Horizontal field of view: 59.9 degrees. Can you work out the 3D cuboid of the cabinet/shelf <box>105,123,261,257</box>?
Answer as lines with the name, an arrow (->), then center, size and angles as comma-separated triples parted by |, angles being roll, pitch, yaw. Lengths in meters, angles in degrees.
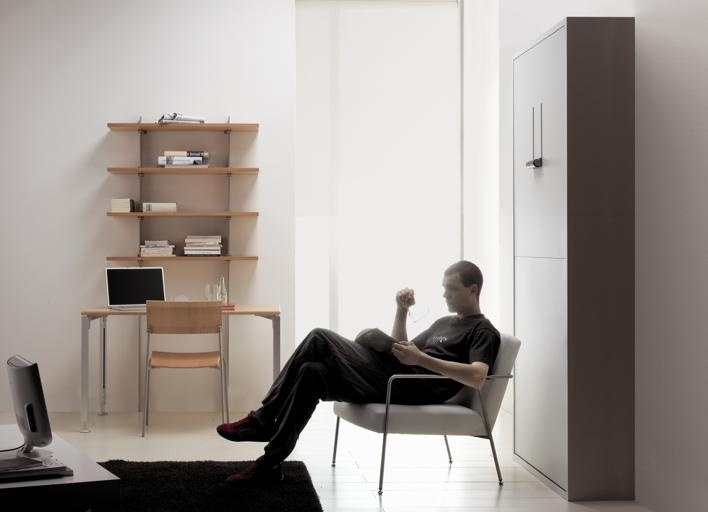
cabinet/shelf -> -1.403, -0.525, 5.239 | 1.264, 1.099, 0.363 | 0, 8, -5

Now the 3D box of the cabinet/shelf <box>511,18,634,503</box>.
cabinet/shelf -> 1.248, 0.005, 3.636 | 0.336, 2.713, 0.777 | 0, 2, -35

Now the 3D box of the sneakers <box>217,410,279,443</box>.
sneakers -> -0.630, 1.022, 3.683 | 0.403, 0.171, 0.145 | 2, -4, -2

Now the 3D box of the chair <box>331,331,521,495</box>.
chair -> 0.417, 0.928, 3.894 | 0.991, 0.832, 0.902 | 3, -7, -12

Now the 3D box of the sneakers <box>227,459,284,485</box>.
sneakers -> -0.561, 1.247, 3.565 | 0.344, 0.134, 0.124 | 1, -6, -5

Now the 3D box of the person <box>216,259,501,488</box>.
person -> 0.009, 0.695, 3.775 | 1.668, 1.312, 0.995 | 2, -10, -7
